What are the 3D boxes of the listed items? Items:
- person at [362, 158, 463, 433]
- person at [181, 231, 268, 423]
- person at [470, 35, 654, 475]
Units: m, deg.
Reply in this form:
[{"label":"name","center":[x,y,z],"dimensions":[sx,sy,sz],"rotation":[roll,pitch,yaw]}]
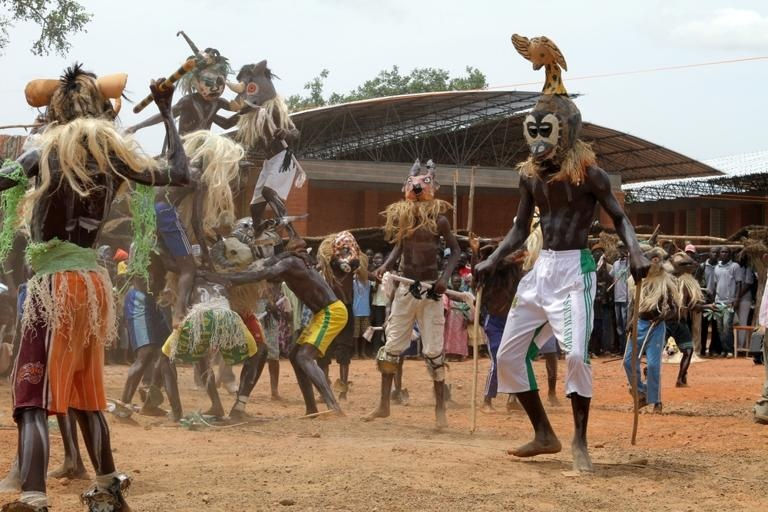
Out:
[{"label":"person","center":[0.305,0.350,7.791],"dimensions":[0.848,2.650,0.568],"rotation":[0,1,20]},{"label":"person","center":[-1.516,0.664,7.216],"dimensions":[0.631,1.694,0.834],"rotation":[0,1,4]},{"label":"person","center":[1.353,-0.089,6.025],"dimensions":[1.092,3.399,0.561],"rotation":[0,1,33]}]
